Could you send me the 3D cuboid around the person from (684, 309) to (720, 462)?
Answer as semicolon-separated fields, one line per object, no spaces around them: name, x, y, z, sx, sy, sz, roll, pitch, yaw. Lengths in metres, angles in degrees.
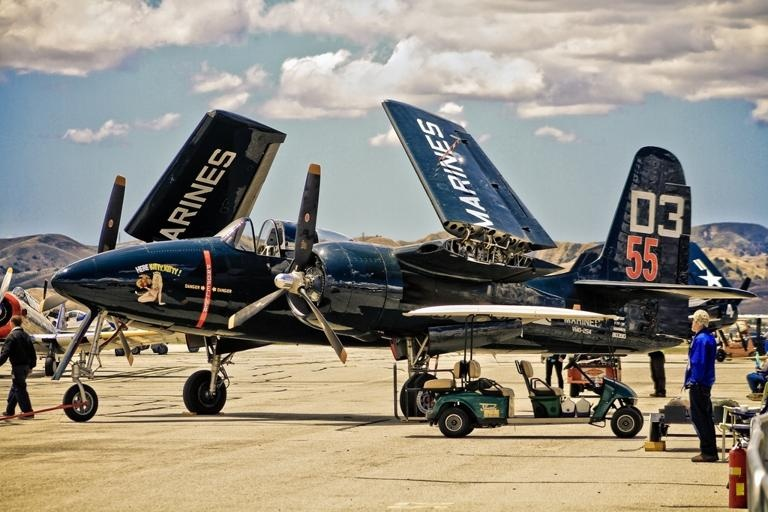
person;6.547;2.631;17.683;0.713;3.050;0.761;2;-9;16

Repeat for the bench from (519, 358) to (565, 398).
bench;3.880;3.011;20.681;1.408;0.754;0.758;7;-4;10

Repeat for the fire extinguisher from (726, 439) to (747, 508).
fire extinguisher;6.088;3.751;14.802;0.287;1.105;0.337;2;-9;20

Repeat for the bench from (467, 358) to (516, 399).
bench;2.469;3.036;20.387;1.248;0.720;0.661;15;-1;8

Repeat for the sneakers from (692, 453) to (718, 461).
sneakers;6.447;4.053;17.357;0.564;0.149;0.166;4;0;4

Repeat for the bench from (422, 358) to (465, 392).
bench;1.469;2.979;20.750;1.246;0.806;0.766;-9;3;-6
